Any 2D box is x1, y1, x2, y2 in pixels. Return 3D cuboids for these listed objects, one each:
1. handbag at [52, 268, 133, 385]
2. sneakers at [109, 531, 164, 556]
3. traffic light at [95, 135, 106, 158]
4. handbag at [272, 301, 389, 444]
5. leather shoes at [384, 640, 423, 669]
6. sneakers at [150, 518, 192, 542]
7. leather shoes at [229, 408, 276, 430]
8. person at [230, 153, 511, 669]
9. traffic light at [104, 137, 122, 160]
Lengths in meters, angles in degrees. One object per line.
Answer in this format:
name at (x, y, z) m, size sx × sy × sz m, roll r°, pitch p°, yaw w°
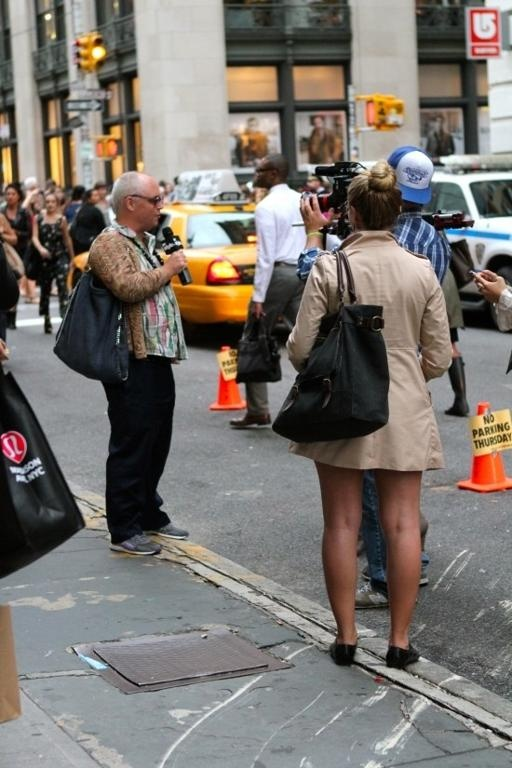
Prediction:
handbag at (-0.779, -0.274, 3.912) m, size 0.353 × 0.528 × 0.187 m, roll 3°, pitch 3°, yaw 21°
sneakers at (-0.586, 0.780, 4.061) m, size 0.222 × 0.081 × 0.103 m, roll -1°, pitch -1°, yaw 17°
traffic light at (-4.128, -6.293, 21.903) m, size 0.342 × 0.627 × 0.487 m, roll 2°, pitch -9°, yaw -8°
handbag at (0.234, -0.033, 2.602) m, size 0.365 × 0.440 × 0.169 m, roll 2°, pitch 3°, yaw 10°
leather shoes at (0.495, 0.907, 2.772) m, size 0.049 × 0.053 × 0.133 m, roll 3°, pitch 4°, yaw 30°
sneakers at (-0.448, 0.769, 4.374) m, size 0.223 × 0.081 × 0.082 m, roll 1°, pitch 4°, yaw 11°
leather shoes at (-0.044, 0.310, 7.219) m, size 0.422 × 0.183 × 0.137 m, roll 1°, pitch 6°, yaw 11°
person at (0.363, 0.097, 2.799) m, size 0.456 × 1.680 × 0.603 m, roll 4°, pitch 4°, yaw 36°
traffic light at (-3.682, -6.222, 21.545) m, size 0.373 × 0.532 × 0.669 m, roll -1°, pitch 4°, yaw -39°
